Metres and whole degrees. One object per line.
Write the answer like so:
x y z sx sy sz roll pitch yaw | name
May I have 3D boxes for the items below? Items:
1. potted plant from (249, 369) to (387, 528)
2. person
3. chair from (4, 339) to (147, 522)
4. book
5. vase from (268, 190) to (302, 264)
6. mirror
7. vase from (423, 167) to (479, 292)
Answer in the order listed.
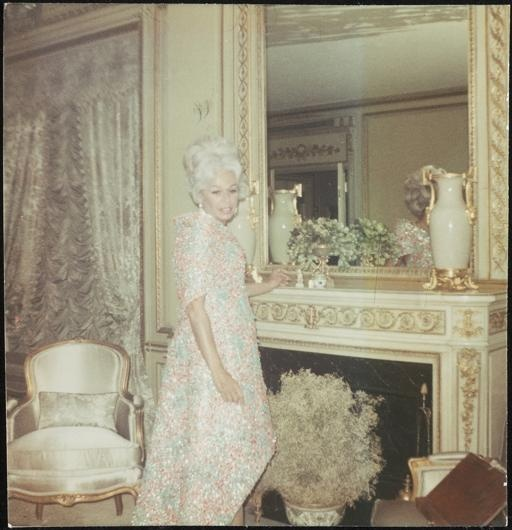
0.380 0.942 3.477 0.575 0.803 0.703 -4 -14 32 | potted plant
-0.212 0.461 2.719 0.558 1.327 0.487 1 -5 5 | person
-0.871 0.880 3.587 0.730 1.107 0.742 2 -16 -9 | chair
0.946 1.052 3.035 0.357 0.283 0.110 -43 -4 -12 | book
0.159 -0.210 3.784 0.185 0.444 0.209 -1 -11 -1 | vase
0.613 -0.635 3.417 1.264 1.753 0.069 2 4 43 | mirror
0.953 -0.185 3.271 0.252 0.649 0.224 0 -5 16 | vase
